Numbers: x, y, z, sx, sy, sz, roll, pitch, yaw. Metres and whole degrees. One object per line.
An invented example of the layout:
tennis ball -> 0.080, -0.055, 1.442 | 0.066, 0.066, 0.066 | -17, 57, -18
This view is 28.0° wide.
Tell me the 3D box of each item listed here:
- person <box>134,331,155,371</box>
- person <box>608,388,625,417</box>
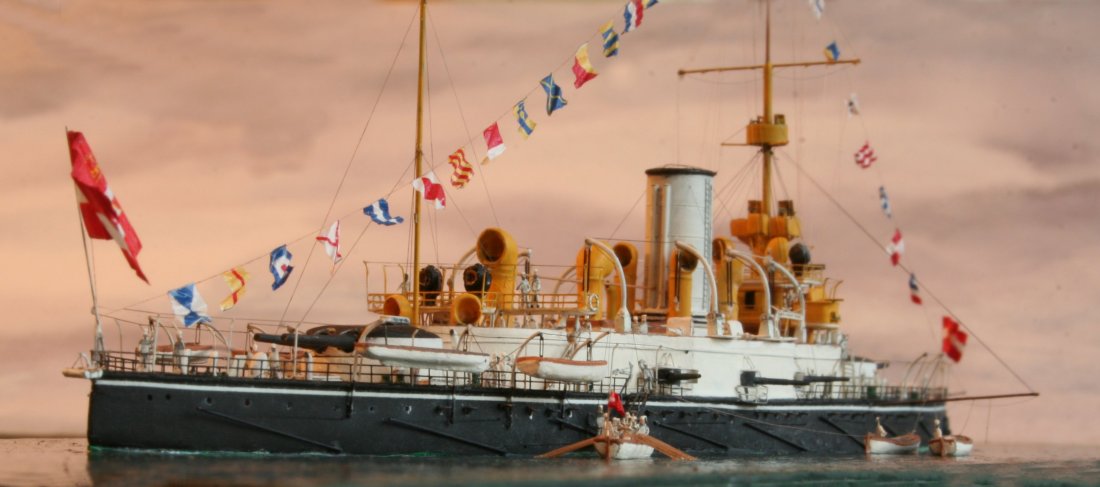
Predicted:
person -> -33.689, 8.715, 182.980 | 1.704, 3.427, 0.915 | 0, -9, 12
person -> 5.552, 13.555, 188.108 | 1.679, 1.940, 0.815 | -20, 12, -37
